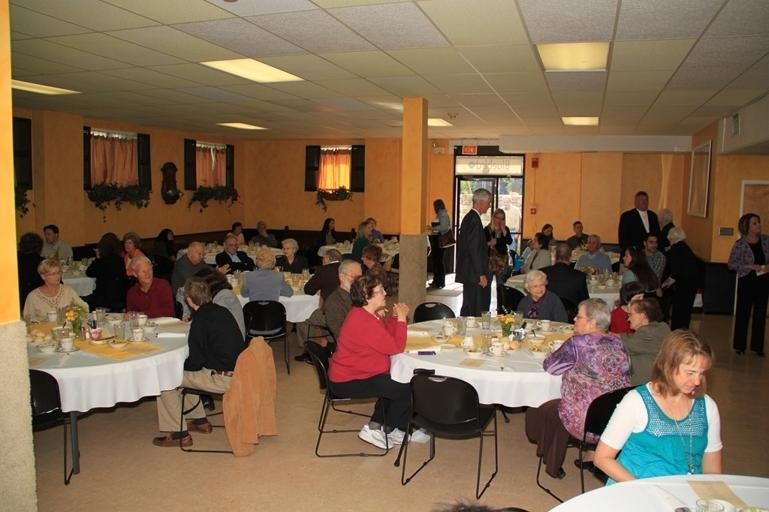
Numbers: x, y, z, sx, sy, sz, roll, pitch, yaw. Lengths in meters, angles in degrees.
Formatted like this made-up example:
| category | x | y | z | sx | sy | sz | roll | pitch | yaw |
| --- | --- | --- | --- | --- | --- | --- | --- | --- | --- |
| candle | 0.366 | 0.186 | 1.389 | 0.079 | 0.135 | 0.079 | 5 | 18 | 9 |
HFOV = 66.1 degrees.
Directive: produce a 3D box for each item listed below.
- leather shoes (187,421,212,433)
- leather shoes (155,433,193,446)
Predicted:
| category | x | y | z | sx | sy | sz | roll | pitch | yaw |
| --- | --- | --- | --- | --- | --- | --- | --- | --- | --- |
| leather shoes | -1.937 | 1.802 | 6.221 | 0.285 | 0.111 | 0.105 | 4 | 2 | 13 |
| leather shoes | -2.101 | 1.846 | 6.016 | 0.396 | 0.142 | 0.148 | 3 | -4 | 3 |
